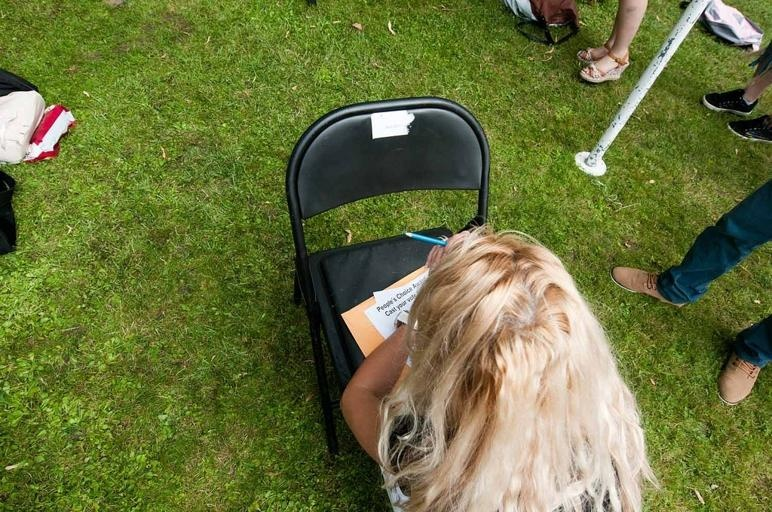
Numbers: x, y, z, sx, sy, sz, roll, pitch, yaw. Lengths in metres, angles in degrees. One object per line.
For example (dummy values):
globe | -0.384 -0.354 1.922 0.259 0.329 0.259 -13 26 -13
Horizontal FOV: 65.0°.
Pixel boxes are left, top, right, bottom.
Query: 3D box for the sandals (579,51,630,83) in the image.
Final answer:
sandals | 1.881 -1.609 5.278 0.410 0.207 0.222 -9 65 -2

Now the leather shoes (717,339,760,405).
leather shoes | 2.467 0.849 4.268 0.168 0.192 0.503 30 96 16

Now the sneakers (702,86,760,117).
sneakers | 2.984 -1.324 5.326 0.476 0.232 0.223 14 81 5

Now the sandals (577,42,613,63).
sandals | 1.826 -1.775 5.298 0.074 0.273 0.123 11 88 -41
